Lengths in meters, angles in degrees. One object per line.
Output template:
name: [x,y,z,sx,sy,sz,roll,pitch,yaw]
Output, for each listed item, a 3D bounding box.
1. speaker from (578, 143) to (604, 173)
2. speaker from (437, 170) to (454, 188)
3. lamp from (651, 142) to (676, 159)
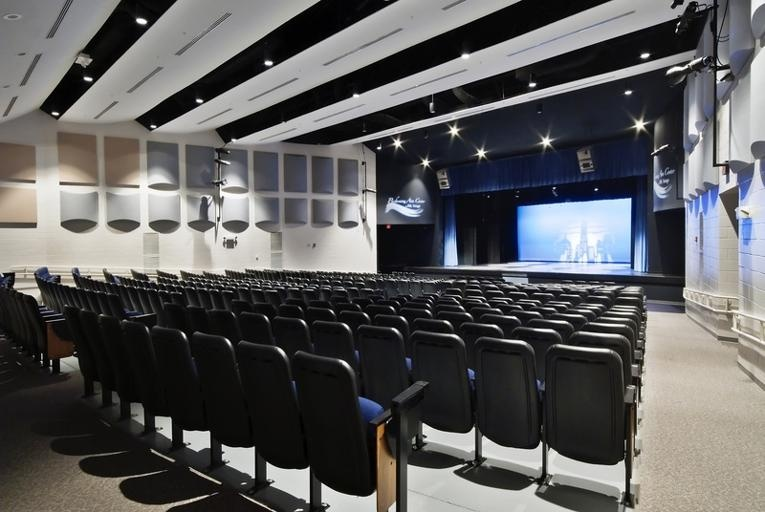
speaker: [7.274,-3.479,17.520,0.604,0.935,0.582,2,5,36]
speaker: [2.648,-3.415,21.453,0.627,0.807,0.441,0,4,15]
lamp: [8.109,-3.135,14.187,0.868,0.252,0.564,-4,6,-41]
